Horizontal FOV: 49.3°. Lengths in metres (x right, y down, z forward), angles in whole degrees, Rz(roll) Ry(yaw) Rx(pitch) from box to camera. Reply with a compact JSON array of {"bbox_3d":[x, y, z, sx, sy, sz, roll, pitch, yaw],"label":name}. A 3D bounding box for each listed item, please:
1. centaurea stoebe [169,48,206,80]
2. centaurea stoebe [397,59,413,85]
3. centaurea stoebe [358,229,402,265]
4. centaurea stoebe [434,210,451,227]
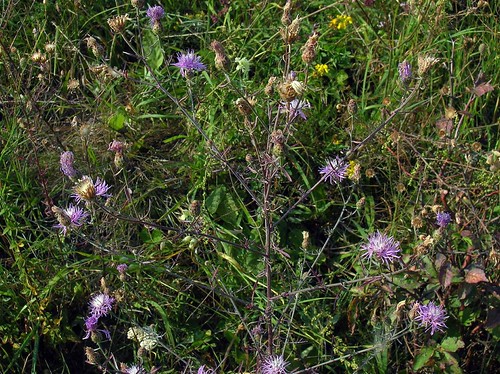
[{"bbox_3d":[-0.348,-0.717,3.263,0.125,0.157,0.133,20,13,-14],"label":"centaurea stoebe"},{"bbox_3d":[0.915,-0.681,3.211,0.081,0.118,0.091,10,17,27],"label":"centaurea stoebe"},{"bbox_3d":[0.752,0.332,3.138,0.123,0.201,0.222,13,87,6],"label":"centaurea stoebe"},{"bbox_3d":[1.162,0.191,3.276,0.072,0.085,0.105,4,89,-18],"label":"centaurea stoebe"}]
